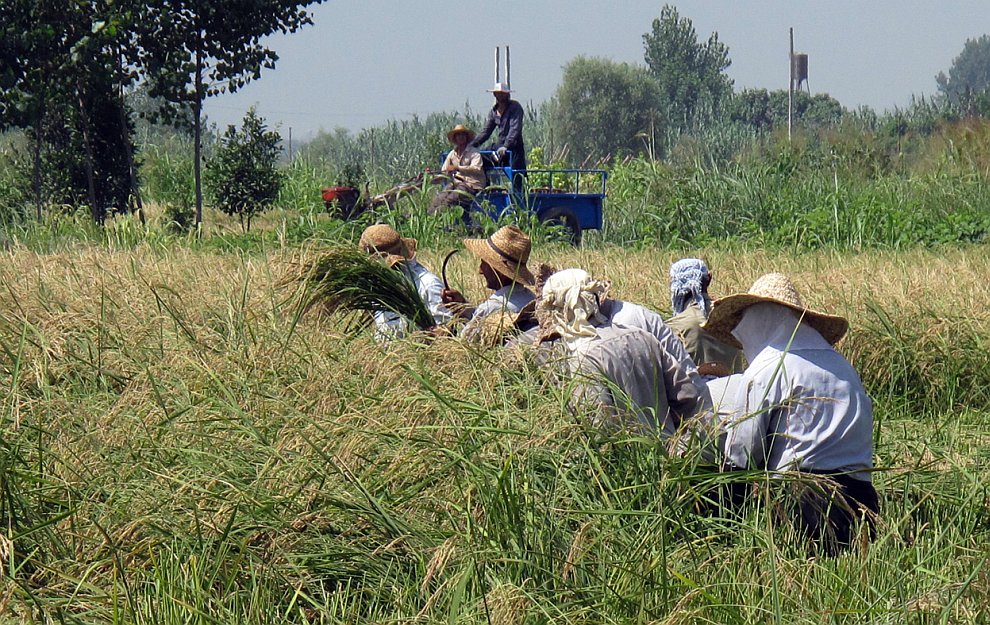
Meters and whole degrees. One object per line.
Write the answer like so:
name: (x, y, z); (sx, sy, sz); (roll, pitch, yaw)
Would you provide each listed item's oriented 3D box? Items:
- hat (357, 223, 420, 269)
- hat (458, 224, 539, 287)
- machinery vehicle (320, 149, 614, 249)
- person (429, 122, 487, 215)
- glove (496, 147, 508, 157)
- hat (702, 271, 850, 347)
hat: (-1.036, -0.658, 11.146); (0.392, 0.203, 0.458); (16, 15, 22)
hat: (0.015, -0.623, 10.781); (0.533, 0.306, 0.565); (30, 22, -5)
machinery vehicle: (-0.232, -1.859, 18.354); (4.334, 1.856, 1.988); (0, 3, -31)
person: (-0.556, -2.256, 17.673); (0.791, 1.297, 1.533); (1, 7, -1)
glove: (0.055, -2.555, 18.190); (0.160, 0.090, 0.241); (0, -4, 5)
hat: (2.179, -0.053, 9.382); (0.699, 0.336, 0.749); (-3, -12, 36)
